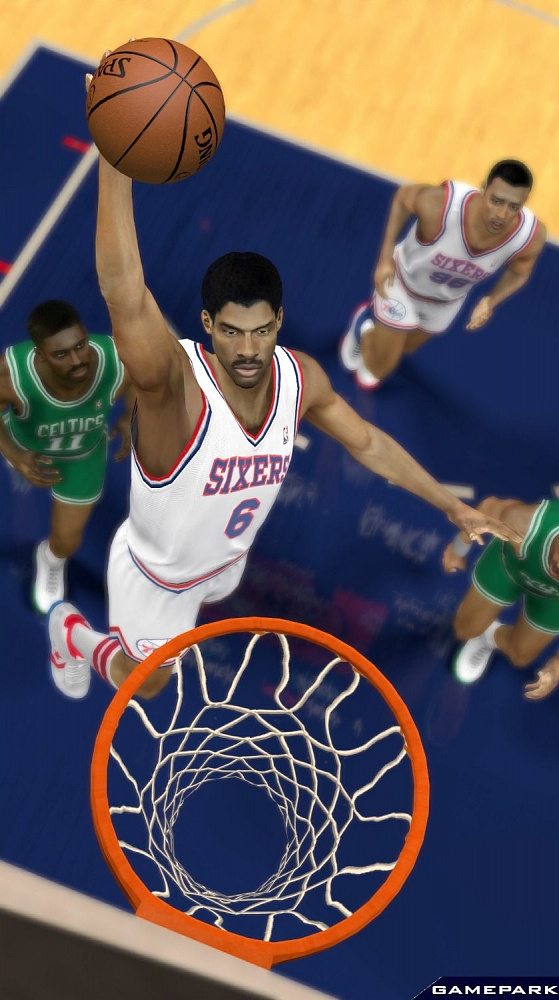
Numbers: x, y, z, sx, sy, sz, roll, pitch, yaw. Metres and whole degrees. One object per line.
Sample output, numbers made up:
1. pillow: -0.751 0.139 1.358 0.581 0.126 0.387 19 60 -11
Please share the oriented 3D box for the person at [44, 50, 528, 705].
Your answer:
1. person: -0.188 -0.034 2.247 1.041 1.875 0.480 -24 66 -22
